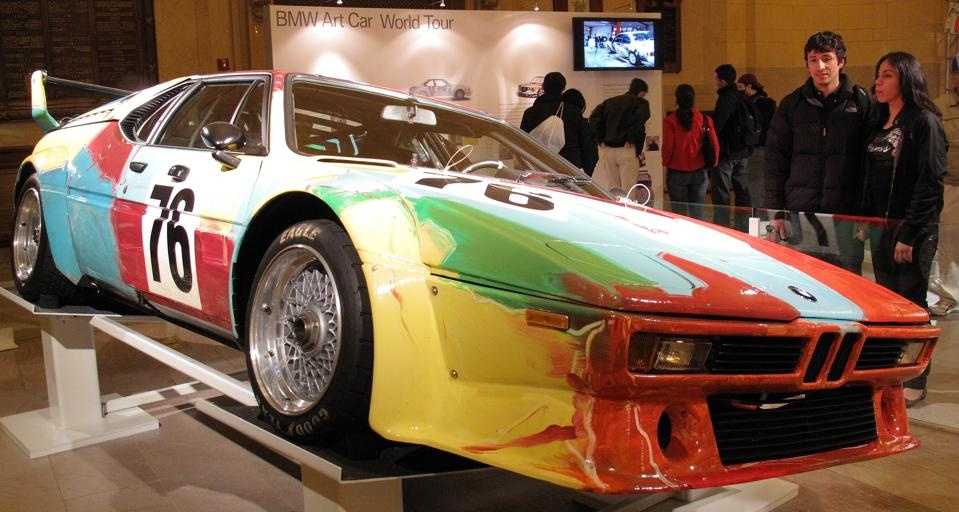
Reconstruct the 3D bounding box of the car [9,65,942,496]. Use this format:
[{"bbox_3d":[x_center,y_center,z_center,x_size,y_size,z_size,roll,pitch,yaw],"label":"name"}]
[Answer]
[{"bbox_3d":[-0.205,-0.069,4.147,5.911,2.135,1.670,5,13,14],"label":"car"}]
